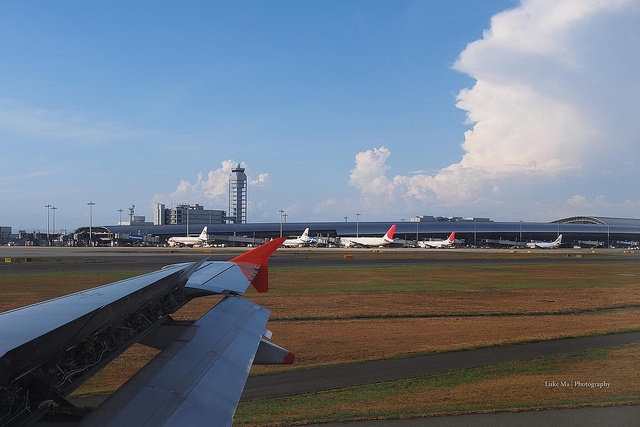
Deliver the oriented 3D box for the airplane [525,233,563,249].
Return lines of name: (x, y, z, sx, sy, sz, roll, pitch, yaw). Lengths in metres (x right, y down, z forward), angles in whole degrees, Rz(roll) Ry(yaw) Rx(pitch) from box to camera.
airplane: (50.024, 6.942, 125.736, 6.840, 3.462, 17.077, 3, 6, 19)
